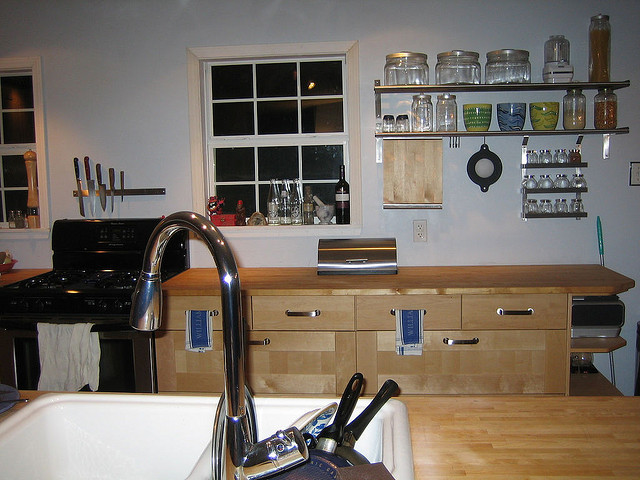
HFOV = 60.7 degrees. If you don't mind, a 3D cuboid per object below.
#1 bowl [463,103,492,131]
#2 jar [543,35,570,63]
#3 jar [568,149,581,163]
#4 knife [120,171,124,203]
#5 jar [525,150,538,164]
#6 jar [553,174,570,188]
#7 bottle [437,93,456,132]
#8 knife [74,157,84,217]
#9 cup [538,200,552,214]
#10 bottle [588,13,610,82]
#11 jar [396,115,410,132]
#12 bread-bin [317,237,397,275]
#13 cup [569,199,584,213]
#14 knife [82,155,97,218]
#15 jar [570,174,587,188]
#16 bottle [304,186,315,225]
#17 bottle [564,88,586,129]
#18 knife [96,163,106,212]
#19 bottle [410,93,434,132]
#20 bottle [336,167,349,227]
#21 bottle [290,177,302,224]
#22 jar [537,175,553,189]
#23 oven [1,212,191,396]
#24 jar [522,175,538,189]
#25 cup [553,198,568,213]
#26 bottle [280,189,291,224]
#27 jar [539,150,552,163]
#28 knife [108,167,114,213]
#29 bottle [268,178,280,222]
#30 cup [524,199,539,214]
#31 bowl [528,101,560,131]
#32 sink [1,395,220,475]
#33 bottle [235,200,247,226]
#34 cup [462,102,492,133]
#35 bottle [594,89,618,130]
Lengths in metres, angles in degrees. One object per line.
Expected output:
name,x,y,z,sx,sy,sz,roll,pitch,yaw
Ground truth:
bowl,0.976,-0.756,3.407,0.164,0.151,0.157,-2,11,0
jar,1.479,-1.176,3.425,0.166,0.194,0.171,-2,19,1
jar,1.640,-0.529,3.460,0.077,0.128,0.080,-2,10,0
knife,-1.371,-0.404,3.773,0.019,0.126,0.014,0,2,9
jar,1.372,-0.540,3.554,0.095,0.106,0.071,-1,7,6
jar,1.547,-0.370,3.496,0.079,0.082,0.083,0,4,0
bottle,0.793,-0.795,3.428,0.115,0.259,0.096,-1,2,12
knife,-1.671,-0.364,3.779,0.043,0.418,0.036,-2,13,2
cup,1.463,-0.210,3.542,0.081,0.083,0.084,0,5,0
bottle,1.718,-1.147,3.366,0.120,0.398,0.198,-1,3,27
jar,0.529,-0.738,3.491,0.089,0.137,0.093,0,7,0
bread-bin,0.233,0.110,3.485,0.495,0.217,0.233,-2,2,6
cup,1.648,-0.219,3.514,0.087,0.102,0.086,0,4,0
knife,-1.587,-0.369,3.790,0.064,0.431,0.035,-16,-3,26
jar,1.662,-0.372,3.521,0.091,0.094,0.094,0,6,0
bottle,-0.079,-0.233,3.762,0.068,0.259,0.104,-2,2,-1
bottle,1.597,-0.813,3.433,0.137,0.255,0.140,-4,9,1
knife,-1.513,-0.356,3.761,0.051,0.328,0.028,-5,-7,-3
bottle,0.665,-0.802,3.489,0.165,0.254,0.151,-2,2,0
bottle,0.144,-0.272,3.669,0.085,0.378,0.080,-2,2,0
bottle,-0.174,-0.275,3.819,0.082,0.324,0.141,-2,2,-3
jar,1.449,-0.372,3.511,0.080,0.082,0.083,-1,7,0
oven,-1.411,0.371,3.461,0.991,1.066,0.828,-2,2,-1
jar,1.365,-0.373,3.572,0.085,0.087,0.085,-1,4,0
cup,1.549,-0.215,3.519,0.083,0.086,0.087,1,4,0
bottle,-0.239,-0.222,3.776,0.064,0.225,0.056,-1,2,7
jar,1.463,-0.538,3.542,0.077,0.092,0.110,-1,2,21
knife,-1.447,-0.341,3.794,0.031,0.300,0.032,-1,6,1
bottle,-0.329,-0.279,3.839,0.080,0.313,0.149,-2,2,-4
cup,1.383,-0.216,3.569,0.089,0.094,0.039,-1,2,16
bowl,1.426,-0.780,3.457,0.167,0.198,0.175,-5,15,1
sink,-0.710,0.669,1.887,0.594,0.268,0.421,2,3,3
bottle,-0.561,-0.184,3.846,0.081,0.175,0.207,-2,2,-6
cup,0.977,-0.757,3.402,0.175,0.170,0.169,-1,7,0
bottle,1.766,-0.801,3.374,0.122,0.259,0.100,-1,2,24
